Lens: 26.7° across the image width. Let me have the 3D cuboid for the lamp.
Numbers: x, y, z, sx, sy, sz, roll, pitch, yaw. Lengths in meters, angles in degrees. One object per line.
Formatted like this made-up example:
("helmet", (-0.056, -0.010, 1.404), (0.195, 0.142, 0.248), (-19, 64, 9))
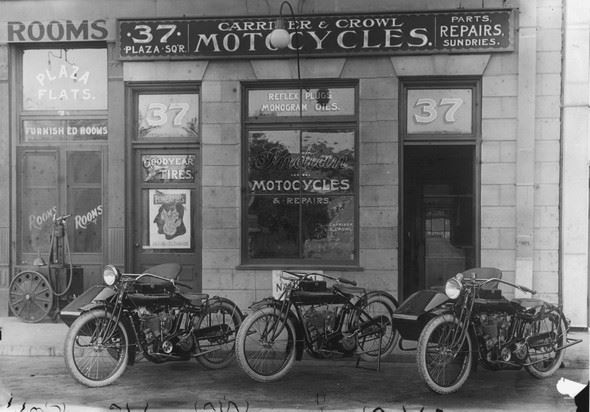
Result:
("lamp", (-0.204, -3.138, 23.562), (0.514, 1.081, 1.201), (1, 0, 9))

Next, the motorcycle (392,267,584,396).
("motorcycle", (3.066, 2.061, 20.770), (2.756, 1.548, 0.812), (1, 0, -21))
